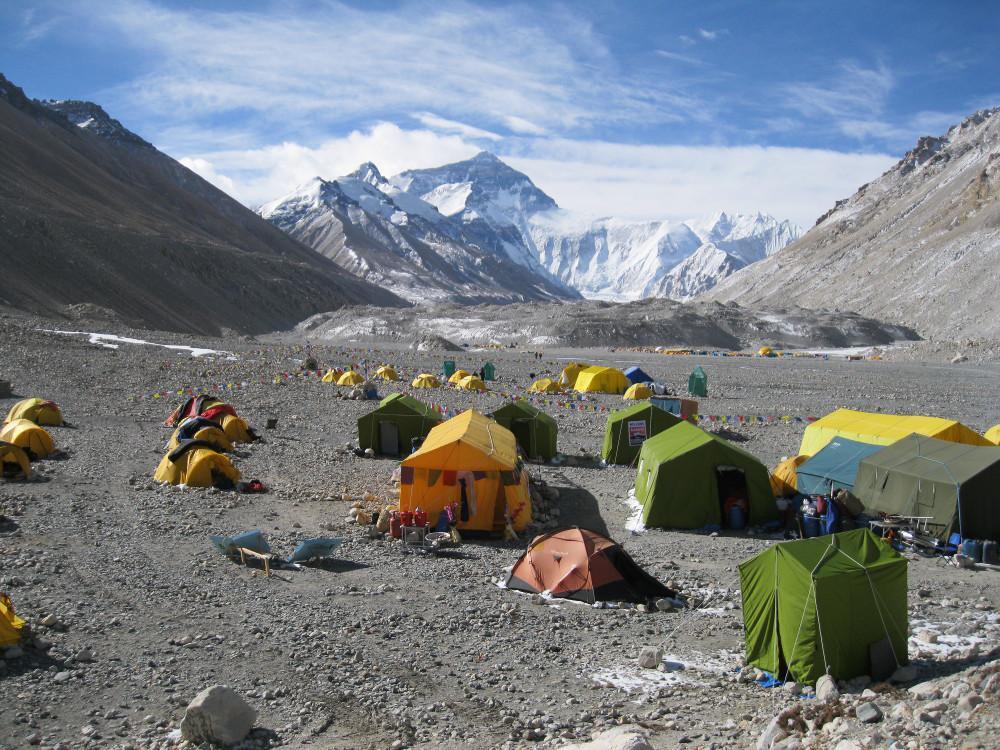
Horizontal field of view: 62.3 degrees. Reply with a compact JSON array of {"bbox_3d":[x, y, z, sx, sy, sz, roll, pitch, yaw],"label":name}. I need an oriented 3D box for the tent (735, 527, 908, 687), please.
[{"bbox_3d":[6.567,4.469,16.651,2.902,2.225,2.136,-2,-5,-29],"label":"tent"}]

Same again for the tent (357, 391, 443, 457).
[{"bbox_3d":[-4.104,1.716,33.551,3.711,1.529,3.525,3,1,-10],"label":"tent"}]

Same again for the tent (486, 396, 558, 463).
[{"bbox_3d":[1.279,2.156,32.926,3.198,1.326,2.854,16,6,-14],"label":"tent"}]

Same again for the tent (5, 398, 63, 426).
[{"bbox_3d":[-18.123,1.402,32.037,1.741,0.503,1.263,0,1,31],"label":"tent"}]

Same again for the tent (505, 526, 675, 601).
[{"bbox_3d":[1.990,4.431,20.213,2.644,0.946,3.482,-9,7,-42],"label":"tent"}]

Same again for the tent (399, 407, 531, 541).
[{"bbox_3d":[-1.078,3.020,24.457,4.550,2.581,6.602,0,0,-1],"label":"tent"}]

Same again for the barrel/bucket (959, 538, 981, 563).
[{"bbox_3d":[12.056,4.458,21.174,0.505,0.525,0.626,4,-7,-29],"label":"barrel/bucket"}]
